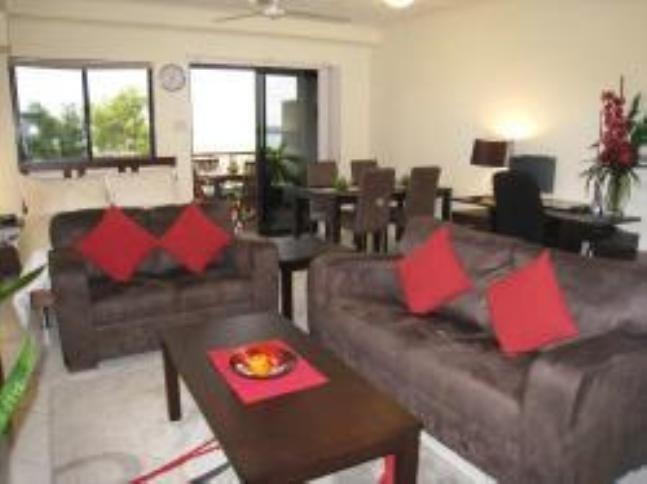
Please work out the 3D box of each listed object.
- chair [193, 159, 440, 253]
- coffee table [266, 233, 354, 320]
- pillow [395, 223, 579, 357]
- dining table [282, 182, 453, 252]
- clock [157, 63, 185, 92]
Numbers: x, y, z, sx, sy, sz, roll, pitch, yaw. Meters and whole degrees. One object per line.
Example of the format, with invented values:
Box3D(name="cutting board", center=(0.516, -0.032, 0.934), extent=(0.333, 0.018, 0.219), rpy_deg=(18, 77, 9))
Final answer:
Box3D(name="chair", center=(0.208, -0.311, 5.437), extent=(1.651, 0.882, 1.152), rpy_deg=(-1, 6, -15))
Box3D(name="coffee table", center=(-0.114, 0.176, 3.653), extent=(0.559, 0.581, 0.576), rpy_deg=(-3, 18, -18))
Box3D(name="pillow", center=(0.782, 0.260, 2.163), extent=(0.100, 0.470, 0.917), rpy_deg=(13, 6, -23))
Box3D(name="dining table", center=(0.158, -0.349, 5.281), extent=(1.168, 0.600, 0.815), rpy_deg=(-8, 13, -36))
Box3D(name="clock", center=(-1.644, -1.799, 5.192), extent=(0.252, 0.269, 0.065), rpy_deg=(-4, 23, -27))
